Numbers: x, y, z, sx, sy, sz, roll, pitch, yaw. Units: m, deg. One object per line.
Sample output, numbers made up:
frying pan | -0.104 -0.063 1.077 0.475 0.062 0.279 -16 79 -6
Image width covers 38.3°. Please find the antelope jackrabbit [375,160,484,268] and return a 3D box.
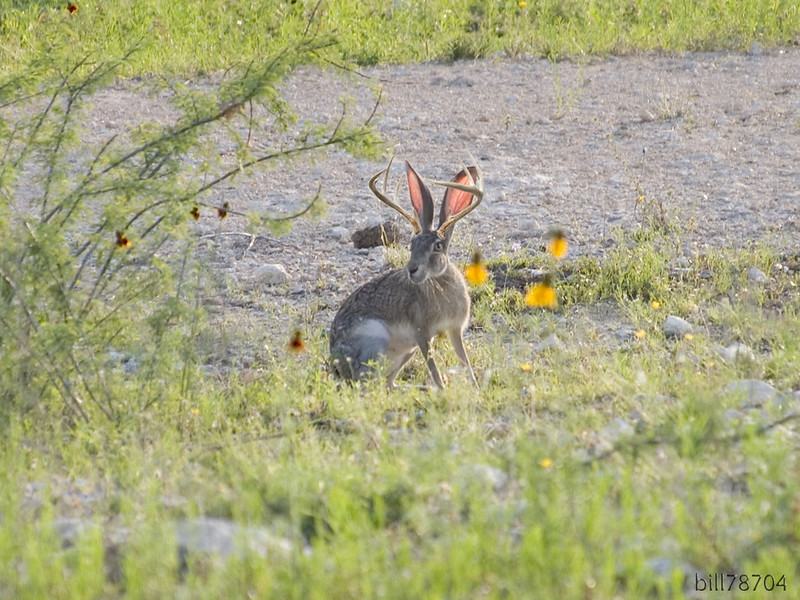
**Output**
antelope jackrabbit | 0.207 -0.599 8.212 0.724 0.848 0.620 3 12 16
